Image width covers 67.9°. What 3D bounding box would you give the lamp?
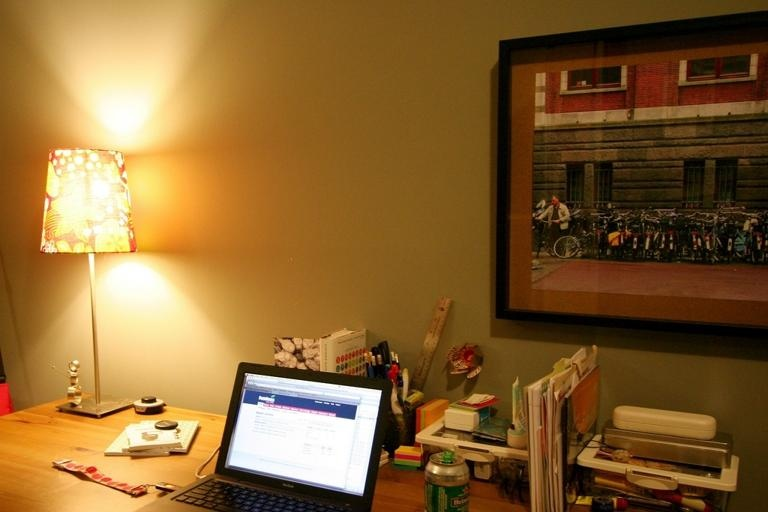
[{"bbox_3d":[-1.209,0.168,2.419,0.332,1.201,0.318,1,1,23],"label":"lamp"}]

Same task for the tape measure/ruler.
[{"bbox_3d":[0.169,0.320,2.076,0.141,0.345,0.050,3,4,5],"label":"tape measure/ruler"}]

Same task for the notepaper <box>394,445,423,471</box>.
[{"bbox_3d":[0.081,0.659,1.852,0.072,0.042,0.071,0,-1,21],"label":"notepaper"}]

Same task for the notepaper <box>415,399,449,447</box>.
[{"bbox_3d":[0.157,0.557,1.874,0.041,0.114,0.126,3,10,25],"label":"notepaper"}]

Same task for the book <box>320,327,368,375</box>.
[{"bbox_3d":[-0.134,0.347,2.036,0.113,0.147,0.182,6,9,16],"label":"book"}]

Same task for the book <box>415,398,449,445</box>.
[{"bbox_3d":[0.157,0.554,1.878,0.041,0.112,0.126,3,11,26],"label":"book"}]
